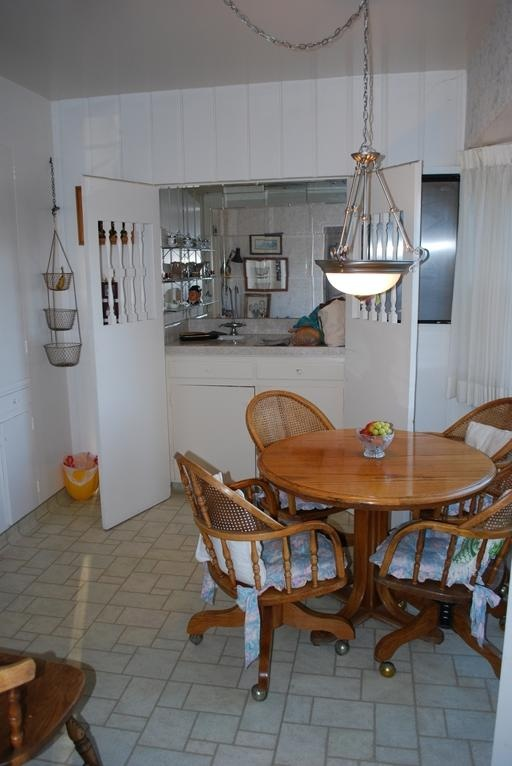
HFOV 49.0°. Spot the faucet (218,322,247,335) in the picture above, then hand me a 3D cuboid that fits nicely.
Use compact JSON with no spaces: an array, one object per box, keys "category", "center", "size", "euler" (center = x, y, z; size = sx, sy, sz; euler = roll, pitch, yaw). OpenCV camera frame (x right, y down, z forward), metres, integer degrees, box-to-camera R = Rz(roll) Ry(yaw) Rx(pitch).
[{"category":"faucet","center":[-0.203,-0.466,4.639],"size":[0.145,0.084,0.149],"euler":[1,11,7]}]

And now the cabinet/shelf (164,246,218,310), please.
[{"category":"cabinet/shelf","center":[-0.525,-0.853,4.398],"size":[0.190,0.551,0.729],"euler":[0,7,15]}]

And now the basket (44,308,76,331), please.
[{"category":"basket","center":[-1.238,-0.388,3.531],"size":[0.149,0.100,0.148],"euler":[-1,3,-37]}]

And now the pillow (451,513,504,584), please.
[{"category":"pillow","center":[0.694,0.539,1.814],"size":[0.151,0.208,0.160],"euler":[4,9,15]}]

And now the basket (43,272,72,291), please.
[{"category":"basket","center":[-1.260,-0.646,3.602],"size":[0.130,0.073,0.133],"euler":[-1,7,0]}]

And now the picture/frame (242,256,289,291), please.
[{"category":"picture/frame","center":[0.094,-0.922,4.628],"size":[0.271,0.226,0.027],"euler":[1,10,6]}]

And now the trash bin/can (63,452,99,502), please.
[{"category":"trash bin/can","center":[-1.184,0.616,3.884],"size":[0.314,0.363,0.301],"euler":[0,2,-20]}]

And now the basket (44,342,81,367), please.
[{"category":"basket","center":[-1.234,-0.186,3.586],"size":[0.212,0.147,0.204],"euler":[-4,7,-22]}]

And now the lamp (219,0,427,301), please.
[{"category":"lamp","center":[0.470,-1.047,2.587],"size":[0.591,1.336,2.058],"euler":[1,7,17]}]

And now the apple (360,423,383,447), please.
[{"category":"apple","center":[0.433,0.196,2.102],"size":[0.071,0.031,0.079],"euler":[1,25,14]}]

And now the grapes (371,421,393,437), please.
[{"category":"grapes","center":[0.474,0.172,2.110],"size":[0.064,0.032,0.050],"euler":[-1,1,-7]}]

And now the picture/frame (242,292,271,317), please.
[{"category":"picture/frame","center":[0.014,-0.671,4.686],"size":[0.199,0.230,0.015],"euler":[1,5,6]}]

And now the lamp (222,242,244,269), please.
[{"category":"lamp","center":[-0.182,-1.060,4.662],"size":[0.178,0.216,0.130],"euler":[6,11,24]}]
